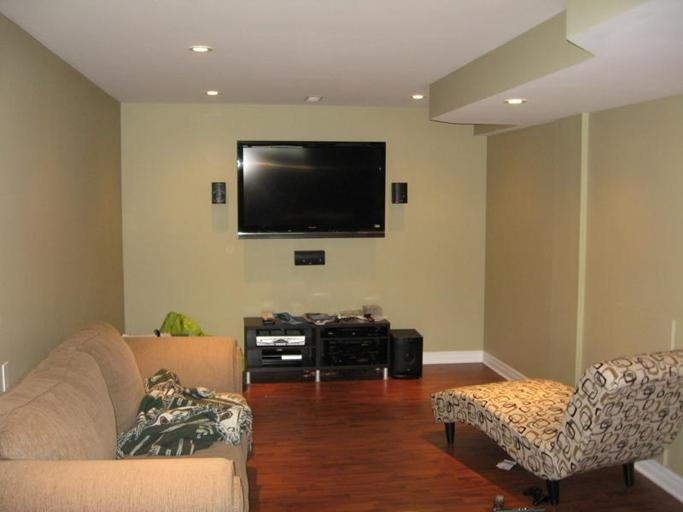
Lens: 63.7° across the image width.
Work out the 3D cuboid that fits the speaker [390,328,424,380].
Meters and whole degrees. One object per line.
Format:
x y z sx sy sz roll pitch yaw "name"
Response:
0.665 1.034 5.801 0.315 0.415 0.427 3 4 -12 "speaker"
